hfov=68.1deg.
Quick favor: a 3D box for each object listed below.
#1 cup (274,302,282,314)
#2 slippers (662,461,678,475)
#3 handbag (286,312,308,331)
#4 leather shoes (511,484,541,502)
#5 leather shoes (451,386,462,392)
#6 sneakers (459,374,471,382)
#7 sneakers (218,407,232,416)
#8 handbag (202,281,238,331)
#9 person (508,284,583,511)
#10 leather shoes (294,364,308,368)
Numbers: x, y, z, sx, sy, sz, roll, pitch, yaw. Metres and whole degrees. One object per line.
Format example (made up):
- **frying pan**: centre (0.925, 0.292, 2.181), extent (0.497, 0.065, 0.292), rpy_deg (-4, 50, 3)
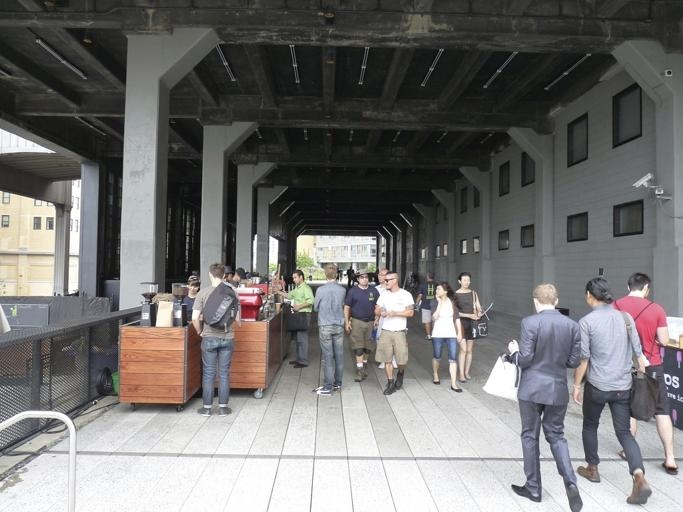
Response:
- **cup**: centre (-1.247, 1.014, 9.944), extent (0.128, 0.175, 0.131), rpy_deg (-3, -6, 0)
- **slippers**: centre (3.976, 2.565, 6.130), extent (0.174, 0.120, 0.149), rpy_deg (5, 7, 36)
- **handbag**: centre (-0.872, 1.308, 10.082), extent (0.563, 0.336, 0.430), rpy_deg (1, -5, 4)
- **leather shoes**: centre (2.051, 2.670, 5.683), extent (0.109, 0.131, 0.310), rpy_deg (-3, 16, -41)
- **leather shoes**: centre (1.991, 2.284, 8.702), extent (0.185, 0.072, 0.174), rpy_deg (-1, 6, -18)
- **sneakers**: centre (2.262, 2.266, 9.291), extent (0.076, 0.111, 0.261), rpy_deg (-1, -19, -3)
- **sneakers**: centre (-1.736, 2.296, 7.552), extent (0.098, 0.145, 0.211), rpy_deg (7, 8, 18)
- **handbag**: centre (-1.911, 0.814, 7.614), extent (0.453, 0.859, 0.625), rpy_deg (12, -19, -17)
- **person**: centre (2.282, 1.536, 5.632), extent (0.801, 2.391, 0.456), rpy_deg (4, 6, 28)
- **leather shoes**: centre (-0.821, 2.187, 10.132), extent (0.222, 0.091, 0.081), rpy_deg (7, -12, -12)
